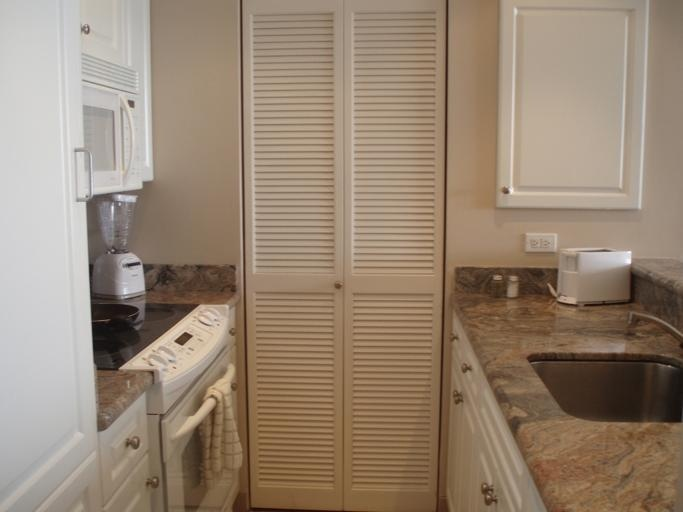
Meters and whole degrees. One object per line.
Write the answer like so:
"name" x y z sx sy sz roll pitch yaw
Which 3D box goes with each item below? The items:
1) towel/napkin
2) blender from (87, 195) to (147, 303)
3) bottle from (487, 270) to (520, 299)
"towel/napkin" -0.430 0.644 2.102 0.080 0.452 0.195 0 4 -1
"blender" -0.975 -0.021 2.466 0.204 0.491 0.195 6 14 9
"bottle" 0.728 0.125 2.538 0.132 0.111 0.105 -1 8 15
